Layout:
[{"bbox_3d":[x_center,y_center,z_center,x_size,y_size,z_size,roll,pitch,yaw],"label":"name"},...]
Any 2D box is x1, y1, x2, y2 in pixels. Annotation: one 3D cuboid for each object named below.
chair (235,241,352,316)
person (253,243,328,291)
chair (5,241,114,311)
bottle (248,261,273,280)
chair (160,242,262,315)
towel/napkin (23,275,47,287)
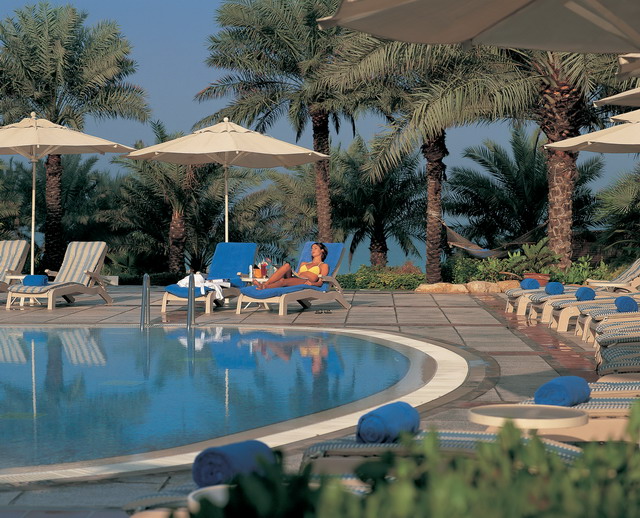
[{"bbox_3d":[-0.385,0.295,11.900,1.182,0.995,1.705,-2,-1,42],"label":"chair"},{"bbox_3d":[-0.487,0.109,11.794,1.423,0.683,0.606,-6,13,-36],"label":"person"},{"bbox_3d":[-4.636,0.232,12.988,1.276,1.073,1.745,0,1,29],"label":"chair"},{"bbox_3d":[-0.995,0.166,12.344,0.430,0.341,0.239,3,1,11],"label":"bottle"},{"bbox_3d":[-1.951,0.264,12.282,1.090,1.000,1.597,1,7,30],"label":"chair"},{"bbox_3d":[-4.952,0.348,12.705,0.297,0.096,0.275,1,5,1],"label":"towel/napkin"}]
